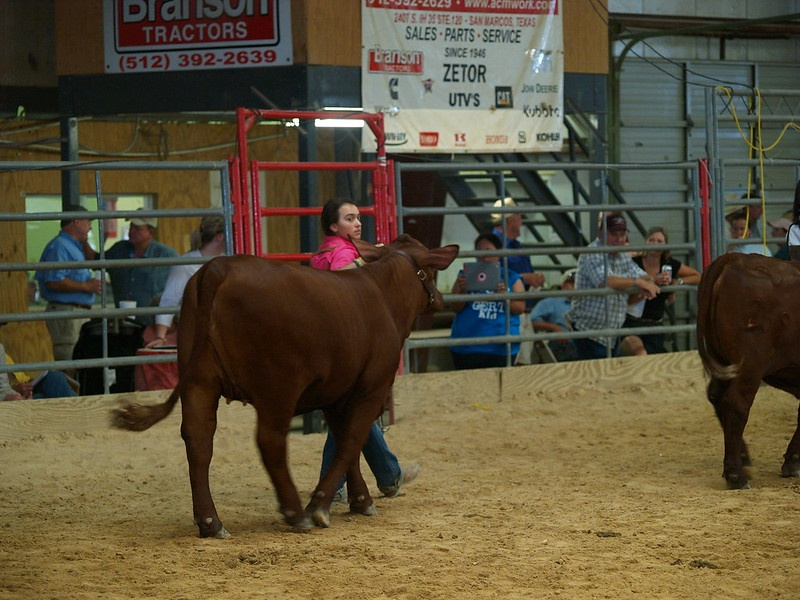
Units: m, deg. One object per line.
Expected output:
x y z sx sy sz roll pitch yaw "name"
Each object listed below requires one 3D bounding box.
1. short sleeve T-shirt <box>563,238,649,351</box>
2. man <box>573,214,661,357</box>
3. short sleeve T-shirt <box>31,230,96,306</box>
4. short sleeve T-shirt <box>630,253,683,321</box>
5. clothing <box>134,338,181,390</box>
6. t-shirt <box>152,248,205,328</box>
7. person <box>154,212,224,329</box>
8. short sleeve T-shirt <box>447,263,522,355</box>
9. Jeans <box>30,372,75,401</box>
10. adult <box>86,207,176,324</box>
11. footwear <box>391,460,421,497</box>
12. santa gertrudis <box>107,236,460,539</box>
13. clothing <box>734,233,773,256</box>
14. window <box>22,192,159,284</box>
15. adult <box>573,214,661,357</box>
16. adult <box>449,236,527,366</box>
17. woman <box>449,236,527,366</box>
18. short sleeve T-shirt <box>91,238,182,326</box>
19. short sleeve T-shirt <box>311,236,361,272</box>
1.946 0.031 14.497 0.733 1.227 0.753 -2 -24 16 "short sleeve T-shirt"
1.954 -0.112 14.355 0.816 1.359 0.622 -1 5 10 "man"
-3.051 -0.289 14.483 0.408 0.708 0.846 -2 2 7 "short sleeve T-shirt"
2.343 -0.048 14.689 0.329 0.640 0.583 21 -9 -18 "short sleeve T-shirt"
-2.067 0.523 13.497 0.397 0.452 0.454 2 2 13 "clothing"
-1.949 -0.094 13.685 0.210 0.731 0.514 18 -6 2 "t-shirt"
-1.756 -0.238 13.030 0.247 1.021 0.517 21 -8 -6 "person"
0.795 0.167 14.395 0.651 0.911 0.492 0 -3 27 "short sleeve T-shirt"
-2.983 0.715 13.514 0.375 0.225 0.328 -2 5 -1 "Jeans"
-2.628 -0.102 15.128 0.847 1.682 0.490 -1 33 -15 "adult"
0.067 1.392 12.178 0.104 0.148 0.333 10 36 31 "footwear"
-0.767 0.657 11.434 2.151 2.026 0.575 -4 5 -26 "santa gertrudis"
3.344 -0.527 14.802 0.321 0.161 0.422 -7 9 -40 "clothing"
-3.479 -0.781 17.379 1.625 1.156 0.875 -1 3 -20 "window"
1.951 -0.112 14.357 0.809 1.359 0.619 -1 5 10 "adult"
0.826 0.388 14.348 0.619 2.005 0.606 2 16 13 "adult"
0.814 0.404 14.336 0.618 2.019 0.604 3 12 18 "woman"
-2.376 -0.156 14.183 0.745 0.669 0.204 0 -6 -10 "short sleeve T-shirt"
-0.486 -0.354 11.818 0.236 0.273 0.412 6 -1 4 "short sleeve T-shirt"
